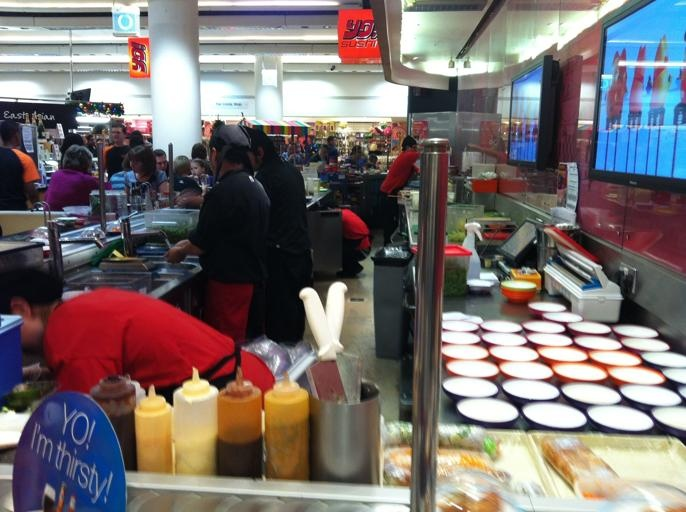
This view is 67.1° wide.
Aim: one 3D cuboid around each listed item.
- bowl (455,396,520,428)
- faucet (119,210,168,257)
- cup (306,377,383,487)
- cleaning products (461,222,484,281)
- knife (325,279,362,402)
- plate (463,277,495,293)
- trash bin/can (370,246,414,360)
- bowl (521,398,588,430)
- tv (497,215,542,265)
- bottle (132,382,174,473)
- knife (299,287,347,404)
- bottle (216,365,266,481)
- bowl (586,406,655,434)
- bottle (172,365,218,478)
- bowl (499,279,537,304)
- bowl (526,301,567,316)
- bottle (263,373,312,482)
[{"bbox_3d":[0.458,0.492,1.637,0.185,0.028,0.151,0,15,7],"label":"bowl"},{"bbox_3d":[-1.375,-0.176,3.712,0.318,0.418,0.291,-1,12,-10],"label":"faucet"},{"bbox_3d":[0.007,0.378,1.162,0.170,0.201,0.174,0,4,0],"label":"cup"},{"bbox_3d":[0.824,-0.031,3.334,0.172,0.386,0.150,7,14,39],"label":"cleaning products"},{"bbox_3d":[-0.010,0.189,1.154,0.074,0.256,0.022,-7,-5,-39],"label":"knife"},{"bbox_3d":[0.858,0.172,3.199,0.163,0.061,0.284,2,15,15],"label":"plate"},{"bbox_3d":[0.366,0.340,3.693,0.329,0.762,0.751,2,10,6],"label":"trash bin/can"},{"bbox_3d":[0.657,0.493,1.598,0.181,0.026,0.146,-5,15,-11],"label":"bowl"},{"bbox_3d":[1.269,-0.043,3.685,0.264,0.378,0.386,-3,-11,19],"label":"tv"},{"bbox_3d":[-0.406,0.372,1.108,0.077,0.187,0.101,-4,14,-7],"label":"bottle"},{"bbox_3d":[-0.027,0.199,1.114,0.125,0.263,0.030,-7,-8,19],"label":"knife"},{"bbox_3d":[-0.227,0.367,1.115,0.100,0.226,0.122,-3,14,-5],"label":"bottle"},{"bbox_3d":[0.849,0.497,1.578,0.193,0.034,0.134,-2,14,0],"label":"bowl"},{"bbox_3d":[-0.323,0.371,1.145,0.101,0.243,0.102,1,11,0],"label":"bottle"},{"bbox_3d":[0.991,0.206,2.915,0.183,0.109,0.192,-2,14,0],"label":"bowl"},{"bbox_3d":[1.035,0.263,2.621,0.098,0.027,0.099,-3,10,1],"label":"bowl"},{"bbox_3d":[-0.117,0.364,1.128,0.097,0.230,0.099,-1,13,0],"label":"bottle"}]
